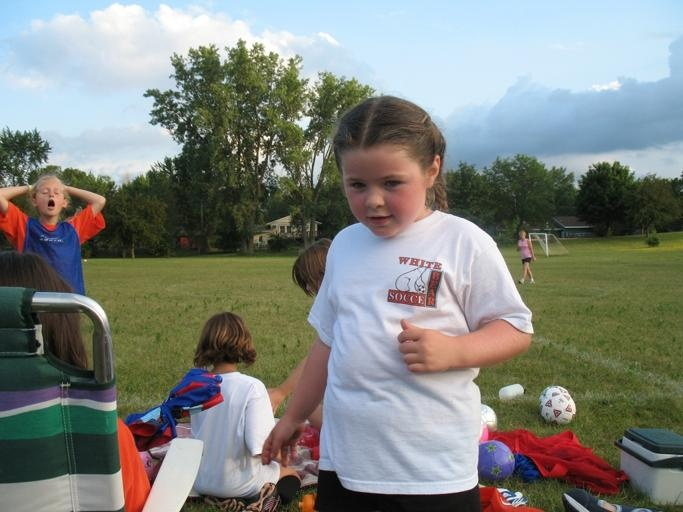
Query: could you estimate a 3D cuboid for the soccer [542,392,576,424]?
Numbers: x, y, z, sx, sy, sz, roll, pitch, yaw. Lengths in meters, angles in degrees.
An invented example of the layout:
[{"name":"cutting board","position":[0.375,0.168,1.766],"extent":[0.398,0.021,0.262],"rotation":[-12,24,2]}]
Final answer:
[{"name":"soccer","position":[1.834,1.278,5.639],"extent":[0.206,0.234,0.283],"rotation":[-4,-3,5]}]
